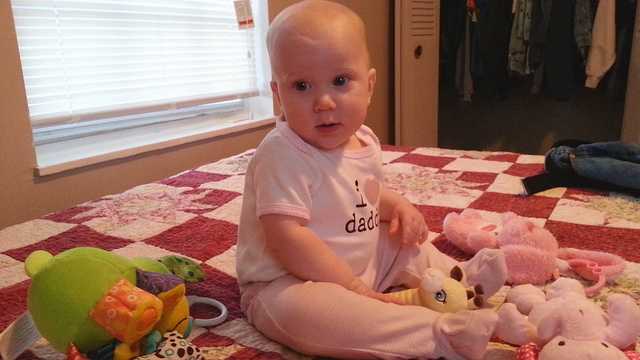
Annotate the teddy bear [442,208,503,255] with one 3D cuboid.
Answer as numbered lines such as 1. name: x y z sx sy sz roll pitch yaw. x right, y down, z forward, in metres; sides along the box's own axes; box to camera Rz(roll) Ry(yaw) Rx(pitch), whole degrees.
1. teddy bear: 0.586 0.196 1.683 0.183 0.072 0.179 -29 44 -33

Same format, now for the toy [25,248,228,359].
1. toy: -0.584 0.332 1.308 0.425 0.203 0.402 13 6 9

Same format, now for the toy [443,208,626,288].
1. toy: 0.779 0.252 1.609 0.589 0.167 0.347 11 17 33

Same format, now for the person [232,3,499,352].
1. person: 0.147 -0.016 1.352 0.843 1.016 0.616 9 24 23

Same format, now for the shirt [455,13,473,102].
1. shirt: 1.347 -1.121 3.982 0.173 0.778 0.201 6 23 16

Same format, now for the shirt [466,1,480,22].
1. shirt: 1.338 -1.489 3.825 0.074 0.165 0.135 -25 34 -20

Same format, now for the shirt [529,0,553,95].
1. shirt: 1.867 -1.112 3.681 0.094 0.763 0.111 -6 18 -33
